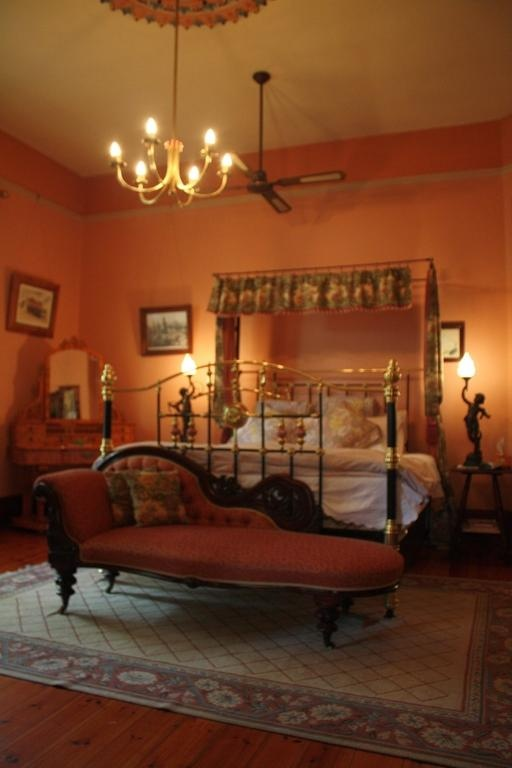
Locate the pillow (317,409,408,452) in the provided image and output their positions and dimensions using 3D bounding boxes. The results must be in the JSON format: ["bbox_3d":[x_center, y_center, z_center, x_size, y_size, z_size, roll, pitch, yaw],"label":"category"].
[{"bbox_3d":[0.841,0.397,4.965,0.507,0.138,0.438,-1,17,9],"label":"pillow"}]

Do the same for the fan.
[{"bbox_3d":[0.100,-1.971,4.779,1.111,1.010,1.178,-1,8,4],"label":"fan"}]

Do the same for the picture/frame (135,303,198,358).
[{"bbox_3d":[-0.913,-0.566,6.508,0.718,0.577,0.064,1,3,26],"label":"picture/frame"}]

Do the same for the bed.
[{"bbox_3d":[0.544,0.432,4.557,1.992,1.135,1.960,-1,-8,21],"label":"bed"}]

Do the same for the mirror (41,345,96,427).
[{"bbox_3d":[-1.794,-0.025,6.082,0.503,0.705,0.218,2,-3,-28],"label":"mirror"}]
